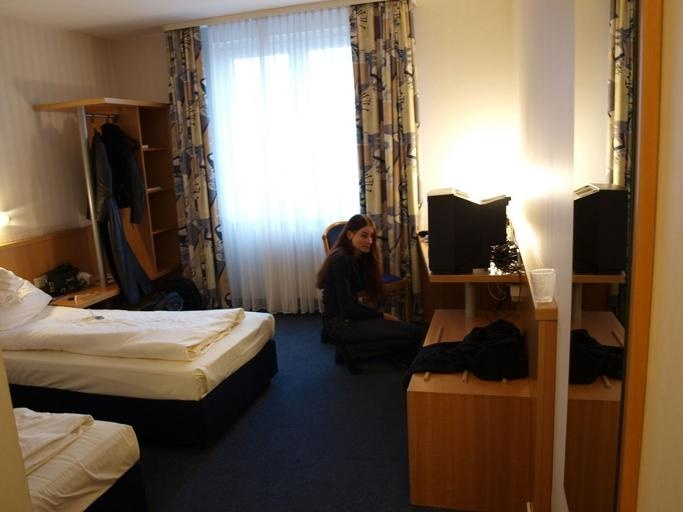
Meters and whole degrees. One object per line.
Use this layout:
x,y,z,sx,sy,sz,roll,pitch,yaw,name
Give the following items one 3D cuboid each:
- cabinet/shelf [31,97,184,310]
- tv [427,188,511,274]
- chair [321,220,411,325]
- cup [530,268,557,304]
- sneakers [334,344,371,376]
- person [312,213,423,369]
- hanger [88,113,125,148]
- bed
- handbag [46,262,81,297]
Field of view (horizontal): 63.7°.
-2.000,-0.484,5.203,0.529,1.906,1.037,1,14,20,cabinet/shelf
0.757,-0.142,3.397,0.511,0.547,0.436,0,3,5,tv
0.263,0.057,4.342,0.753,0.967,0.514,-1,9,3,chair
0.799,0.116,2.171,0.113,0.140,0.120,-4,4,0,cup
0.061,0.732,4.019,0.205,0.106,0.209,10,12,28,sneakers
0.220,0.261,4.692,1.121,1.624,0.718,-2,4,-1,person
-2.123,-1.136,4.976,0.363,0.240,0.057,0,16,-4,hanger
-1.213,0.807,3.381,1.480,0.507,0.775,-5,13,-3,bed
-2.366,0.156,4.733,0.319,0.281,0.171,-17,55,-42,handbag
